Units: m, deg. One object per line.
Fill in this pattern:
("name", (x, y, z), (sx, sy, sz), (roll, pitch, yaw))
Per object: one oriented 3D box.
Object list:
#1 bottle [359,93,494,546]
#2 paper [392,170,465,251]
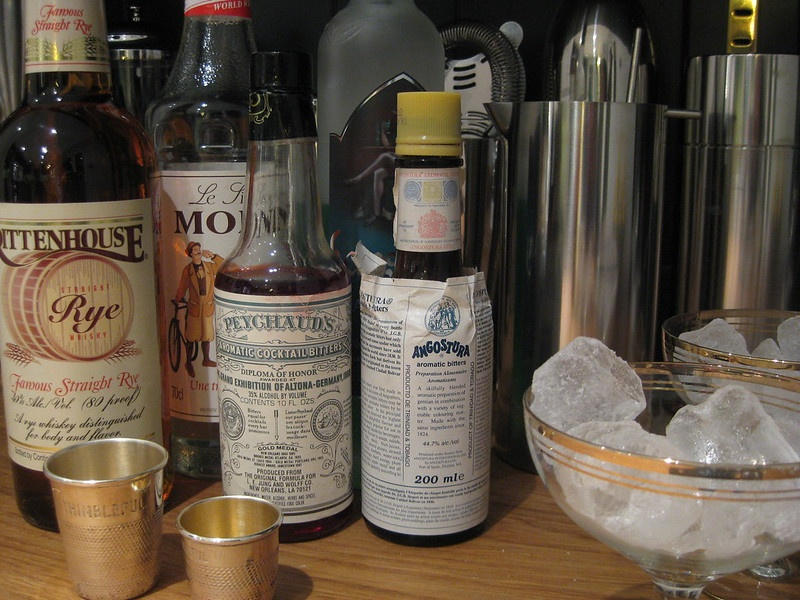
("bottle", (0.010, 0.014, 0.659), (0.126, 0.352, 0.103), (1, 13, 15))
("paper", (0.027, -0.073, 0.646), (0.062, 0.066, 0.061), (-3, 9, -21))
